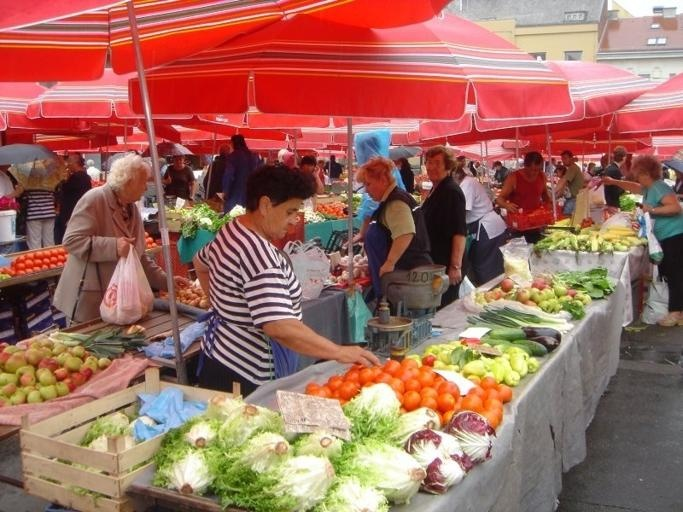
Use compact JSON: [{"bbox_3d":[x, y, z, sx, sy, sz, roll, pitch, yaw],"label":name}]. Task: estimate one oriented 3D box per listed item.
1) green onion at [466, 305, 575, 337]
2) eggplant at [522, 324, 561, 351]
[{"bbox_3d":[1.335,0.399,4.266,0.652,0.185,0.689,4,10,32],"label":"green onion"},{"bbox_3d":[1.328,0.535,3.814,0.124,0.105,0.233,18,8,-42],"label":"eggplant"}]
